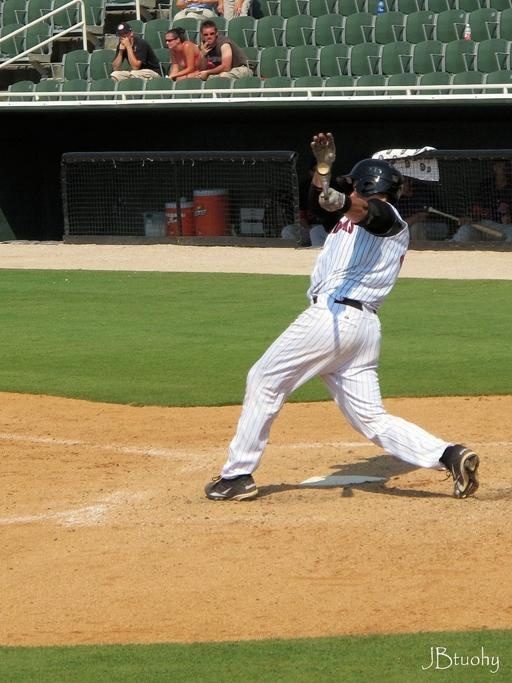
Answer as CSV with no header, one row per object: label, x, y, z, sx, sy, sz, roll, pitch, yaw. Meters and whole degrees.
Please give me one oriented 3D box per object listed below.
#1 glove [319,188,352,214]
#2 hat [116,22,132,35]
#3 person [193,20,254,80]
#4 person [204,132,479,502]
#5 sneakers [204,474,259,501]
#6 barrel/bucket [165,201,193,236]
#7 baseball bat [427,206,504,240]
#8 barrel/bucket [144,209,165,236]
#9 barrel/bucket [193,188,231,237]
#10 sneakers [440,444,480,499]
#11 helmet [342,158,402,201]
glove,0.301,-0.586,5.478,0.089,0.114,0.113,13,59,40
hat,-1.648,-3.815,16.417,0.167,0.190,0.426,-5,4,-6
person,-0.506,-3.483,16.403,0.601,0.592,0.941,-3,4,20
person,0.399,-0.066,6.113,0.851,1.671,0.940,-10,6,-41
sneakers,-0.120,0.676,6.312,0.277,0.120,0.100,1,32,29
barrel/bucket,-1.007,-1.519,16.554,0.474,0.426,0.427,0,6,1
baseball bat,2.450,-1.373,15.566,0.965,0.110,0.152,17,2,9
barrel/bucket,-1.305,-1.470,16.737,0.352,0.270,0.308,0,-4,0
barrel/bucket,-0.638,-1.572,16.476,0.627,0.582,0.565,-3,7,-13
sneakers,0.942,0.579,6.089,0.149,0.297,0.115,24,53,34
helmet,0.513,-0.700,5.963,0.245,0.163,0.168,5,-21,6
